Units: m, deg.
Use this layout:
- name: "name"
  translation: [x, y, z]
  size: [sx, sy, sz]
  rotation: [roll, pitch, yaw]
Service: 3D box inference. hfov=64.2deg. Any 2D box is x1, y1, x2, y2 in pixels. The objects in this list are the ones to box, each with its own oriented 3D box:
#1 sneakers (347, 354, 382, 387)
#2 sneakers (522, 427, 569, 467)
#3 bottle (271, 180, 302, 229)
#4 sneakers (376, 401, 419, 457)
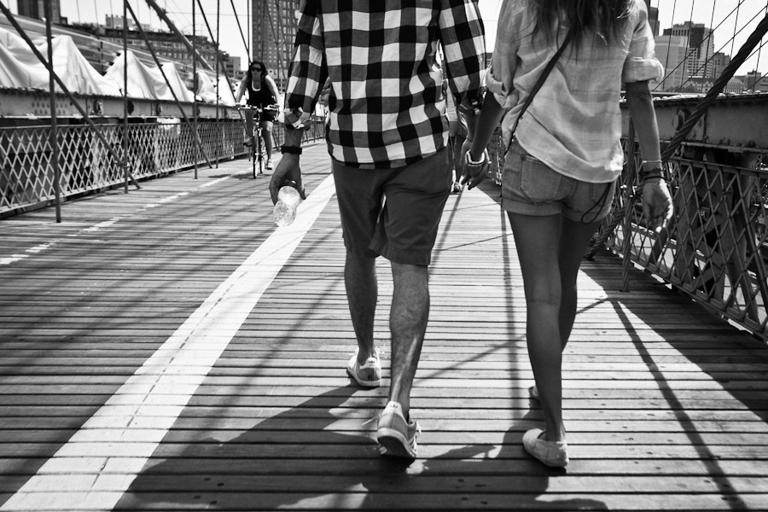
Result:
- name: "sneakers"
  translation: [-0.101, 0.569, 3.020]
  size: [0.095, 0.102, 0.230]
  rotation: [1, 9, -3]
- name: "sneakers"
  translation: [0.656, 0.779, 2.516]
  size: [0.098, 0.083, 0.202]
  rotation: [-1, 10, -2]
- name: "bottle"
  translation: [-0.443, -0.227, 2.748]
  size: [0.115, 0.188, 0.075]
  rotation: [13, -4, -20]
- name: "sneakers"
  translation: [0.056, 0.691, 2.495]
  size: [0.181, 0.256, 0.263]
  rotation: [-1, 22, 3]
